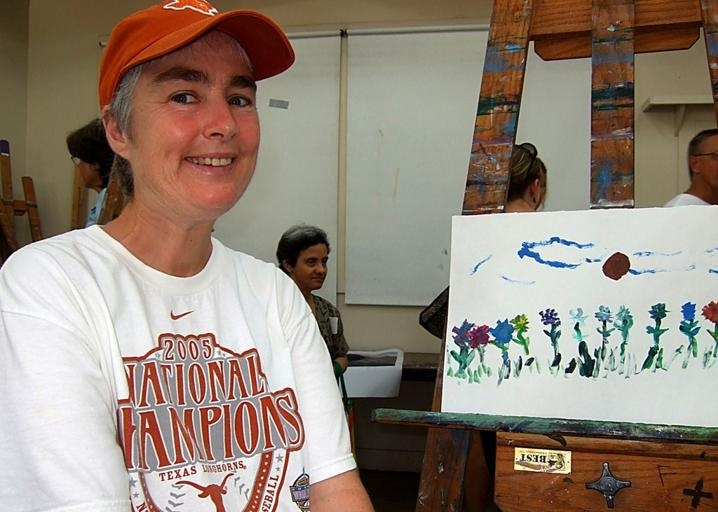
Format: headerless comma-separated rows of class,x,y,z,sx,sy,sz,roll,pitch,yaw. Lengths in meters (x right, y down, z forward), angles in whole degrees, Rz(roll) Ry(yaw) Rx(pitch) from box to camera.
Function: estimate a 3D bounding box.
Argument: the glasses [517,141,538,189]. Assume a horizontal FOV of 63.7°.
glasses,0.608,-0.309,2.094,0.096,0.180,0.122,3,1,22
